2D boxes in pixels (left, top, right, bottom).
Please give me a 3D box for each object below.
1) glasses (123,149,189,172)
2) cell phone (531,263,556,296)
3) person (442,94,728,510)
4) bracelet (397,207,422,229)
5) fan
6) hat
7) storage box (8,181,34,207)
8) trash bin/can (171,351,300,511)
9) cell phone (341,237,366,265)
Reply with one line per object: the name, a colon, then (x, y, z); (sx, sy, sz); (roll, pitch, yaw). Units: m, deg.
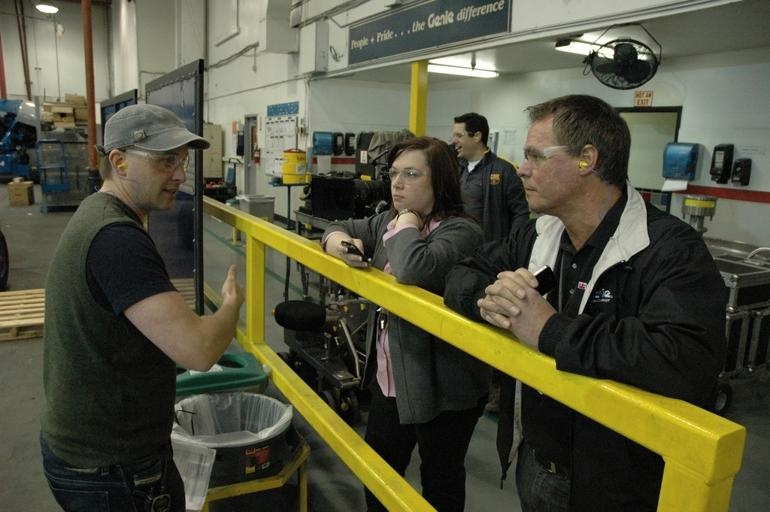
glasses: (-0.973, -0.420, 2.407); (0.149, 0.046, 0.117); (10, 11, 3)
cell phone: (0.591, 0.089, 2.070); (0.104, 0.102, 0.024); (-45, 30, -24)
person: (0.751, 0.257, 2.180); (0.989, 1.733, 0.737); (7, 13, 33)
bracelet: (0.122, -0.184, 2.723); (0.079, 0.060, 0.099); (-3, 13, -43)
fan: (2.208, -1.863, 5.241); (0.621, 0.584, 1.333); (4, 13, 22)
hat: (-1.034, -0.571, 2.467); (0.451, 0.170, 0.331); (4, 21, 19)
storage box: (-8.929, -1.539, 13.739); (0.704, 0.678, 0.685); (-8, 13, -36)
trash bin/can: (-0.870, 1.000, 3.332); (0.693, 0.797, 0.891); (-1, 4, -29)
cell phone: (-0.142, -0.026, 2.547); (0.214, 0.050, 0.056); (28, -8, -42)
